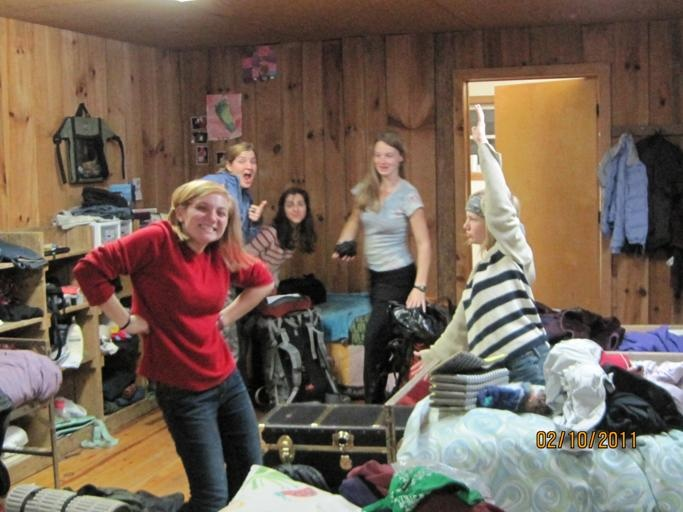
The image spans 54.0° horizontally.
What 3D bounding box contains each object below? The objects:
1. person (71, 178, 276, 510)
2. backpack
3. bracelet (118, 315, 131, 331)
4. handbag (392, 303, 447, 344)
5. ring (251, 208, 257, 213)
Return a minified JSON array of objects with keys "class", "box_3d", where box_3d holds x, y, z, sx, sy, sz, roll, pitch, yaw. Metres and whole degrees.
[{"class":"person","box_3d":[-0.641,0.388,2.807,0.822,1.395,0.336,-6,5,-20]},{"class":"backpack","box_3d":[-0.331,0.699,4.637,0.604,0.675,0.398,-15,-22,-17]},{"class":"bracelet","box_3d":[-0.866,0.267,2.695,0.047,0.061,0.082,-6,6,-19]},{"class":"handbag","box_3d":[0.490,0.408,4.224,0.233,0.127,0.325,-7,18,-42]},{"class":"ring","box_3d":[-0.598,-0.318,4.593,0.052,0.030,0.029,-6,3,-16]}]
